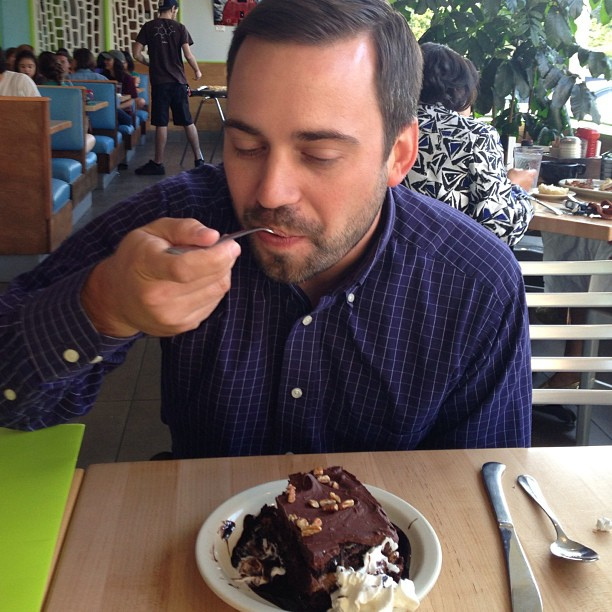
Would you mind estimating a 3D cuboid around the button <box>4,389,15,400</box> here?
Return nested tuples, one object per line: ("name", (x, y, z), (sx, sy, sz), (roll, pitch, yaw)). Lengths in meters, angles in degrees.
("button", (-0.438, 0.132, 0.857), (0.016, 0.016, 0.004), (0, 26, 16))

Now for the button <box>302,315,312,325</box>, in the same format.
("button", (0.003, 0.024, 1.006), (0.016, 0.016, 0.004), (11, 27, -21))

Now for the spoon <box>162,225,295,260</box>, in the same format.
("spoon", (-0.085, -0.073, 0.727), (0.177, 0.021, 0.054), (-10, 29, -34))

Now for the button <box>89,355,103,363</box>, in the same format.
("button", (-0.305, 0.078, 0.843), (0.013, 0.008, 0.012), (-13, 25, -35))

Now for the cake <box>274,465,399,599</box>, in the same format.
("cake", (0.026, 0.246, 0.684), (0.128, 0.044, 0.145), (4, 24, -17))

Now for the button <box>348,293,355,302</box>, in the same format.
("button", (0.082, -0.015, 1.034), (0.002, 0.019, 0.019), (20, 26, 34))
